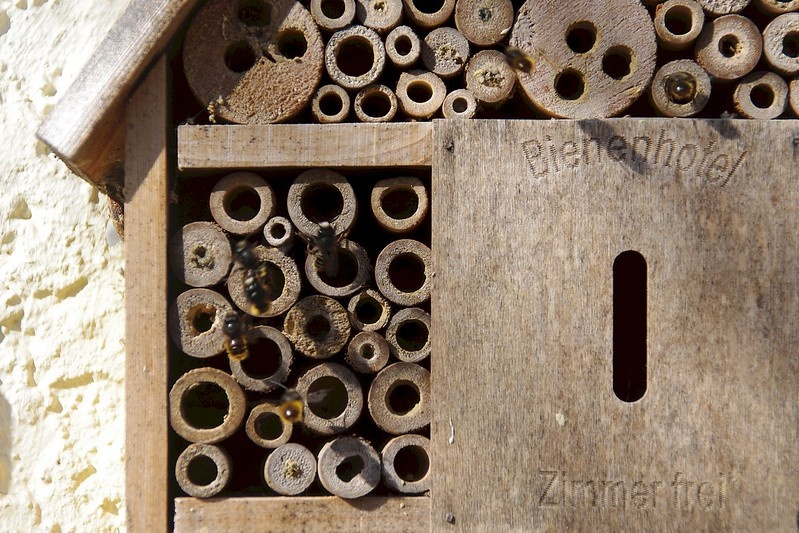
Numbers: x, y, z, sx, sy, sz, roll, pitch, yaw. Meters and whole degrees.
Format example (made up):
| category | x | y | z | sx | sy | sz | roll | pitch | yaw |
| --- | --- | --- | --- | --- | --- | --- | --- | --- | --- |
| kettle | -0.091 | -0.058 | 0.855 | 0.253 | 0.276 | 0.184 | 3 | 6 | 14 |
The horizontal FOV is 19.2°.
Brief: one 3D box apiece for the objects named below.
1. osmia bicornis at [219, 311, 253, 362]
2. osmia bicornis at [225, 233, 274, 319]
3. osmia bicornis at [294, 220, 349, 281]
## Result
| category | x | y | z | sx | sy | sz | roll | pitch | yaw |
| --- | --- | --- | --- | --- | --- | --- | --- | --- | --- |
| osmia bicornis | -0.784 | 0.337 | 11.532 | 0.161 | 0.069 | 0.227 | -5 | 88 | 9 |
| osmia bicornis | -0.701 | 0.037 | 11.474 | 0.246 | 0.101 | 0.329 | -13 | 81 | -1 |
| osmia bicornis | -0.357 | -0.087 | 11.548 | 0.259 | 0.079 | 0.245 | 7 | 108 | 11 |
